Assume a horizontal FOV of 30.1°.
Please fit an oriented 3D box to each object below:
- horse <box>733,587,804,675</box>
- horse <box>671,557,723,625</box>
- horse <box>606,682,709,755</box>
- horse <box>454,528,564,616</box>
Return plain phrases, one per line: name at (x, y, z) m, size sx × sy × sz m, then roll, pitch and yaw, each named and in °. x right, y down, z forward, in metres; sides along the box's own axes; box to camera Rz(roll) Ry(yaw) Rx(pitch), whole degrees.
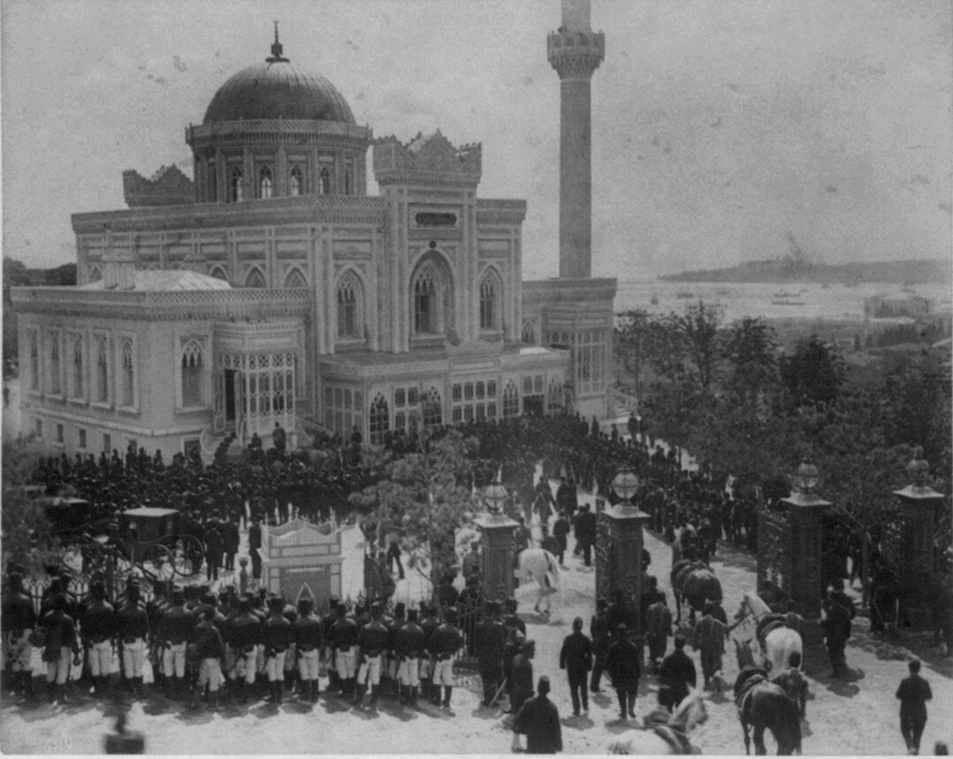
horse at (5.485, 4.683, 32.700) m, size 0.679 × 1.314 × 2.252 m, roll -2°, pitch 7°, yaw -8°
horse at (4.187, 4.181, 35.000) m, size 0.693 × 1.162 × 2.017 m, roll -11°, pitch 4°, yaw -16°
horse at (3.038, 5.814, 29.765) m, size 0.887 × 1.015 × 2.114 m, roll -2°, pitch -4°, yaw 32°
horse at (0.576, 3.746, 35.004) m, size 2.118 × 1.611 × 1.053 m, roll 7°, pitch -9°, yaw -19°
